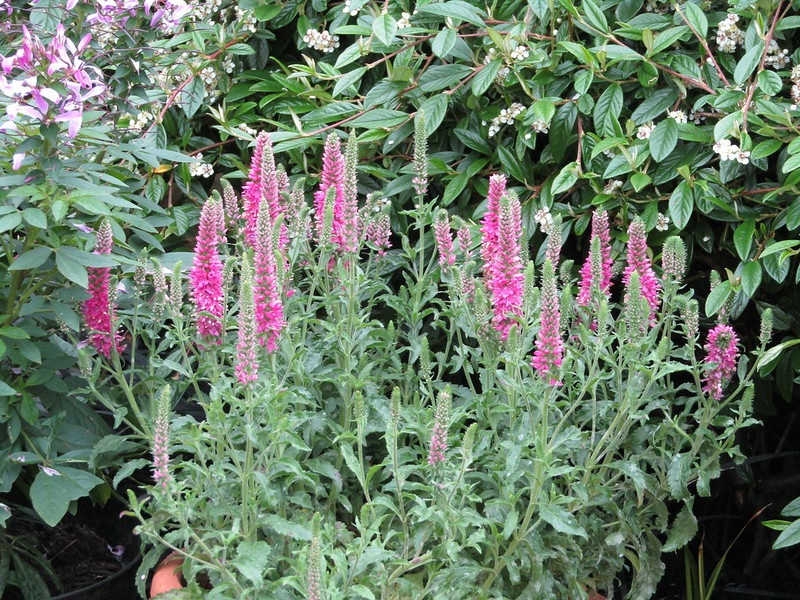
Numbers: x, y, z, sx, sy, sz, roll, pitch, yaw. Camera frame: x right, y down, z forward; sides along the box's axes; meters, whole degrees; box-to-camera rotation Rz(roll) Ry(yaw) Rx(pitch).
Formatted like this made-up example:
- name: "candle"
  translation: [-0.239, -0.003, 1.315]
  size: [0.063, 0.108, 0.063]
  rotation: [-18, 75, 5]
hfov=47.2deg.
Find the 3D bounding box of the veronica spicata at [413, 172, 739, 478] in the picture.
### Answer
- name: "veronica spicata"
  translation: [0.692, 0.184, 3.173]
  size: [0.939, 1.257, 0.930]
  rotation: [-11, 28, -1]
